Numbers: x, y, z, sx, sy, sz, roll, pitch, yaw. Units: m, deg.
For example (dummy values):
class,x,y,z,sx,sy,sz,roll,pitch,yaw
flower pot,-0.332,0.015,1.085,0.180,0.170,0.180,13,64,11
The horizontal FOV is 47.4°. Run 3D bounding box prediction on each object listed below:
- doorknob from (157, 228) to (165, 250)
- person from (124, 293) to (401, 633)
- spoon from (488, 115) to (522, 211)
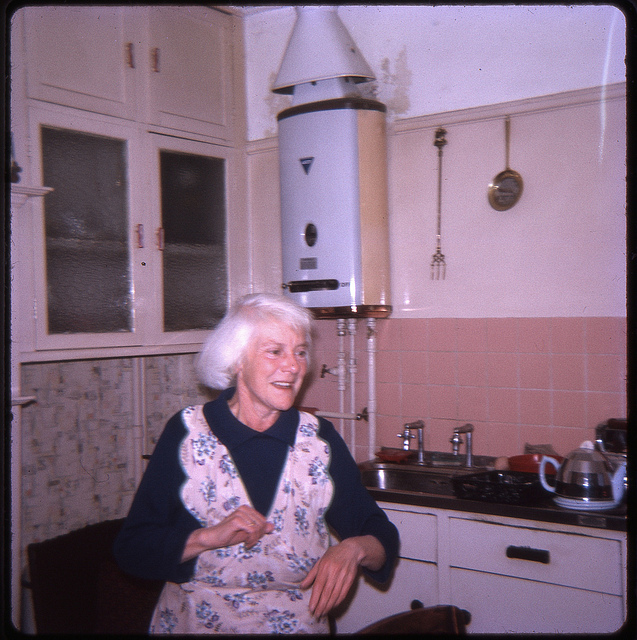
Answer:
class,x,y,z,sx,sy,sz,roll,pitch,yaw
doorknob,-0.657,-0.341,3.025,0.017,0.090,0.056,0,1,7
person,-0.122,0.333,1.717,0.587,0.798,0.373,0,1,19
spoon,0.710,-0.598,2.758,0.127,0.349,0.011,0,1,31
